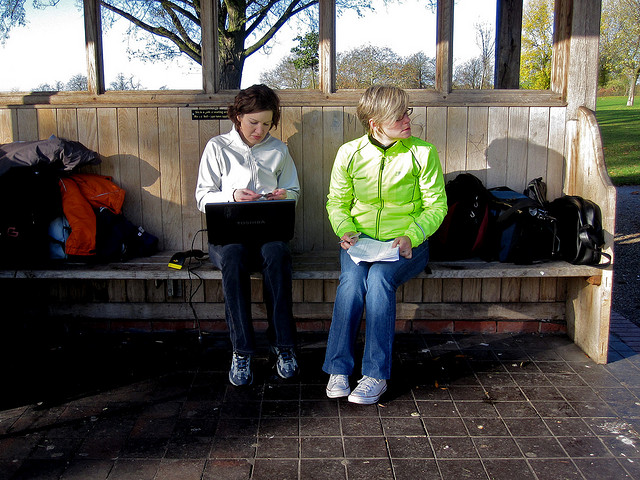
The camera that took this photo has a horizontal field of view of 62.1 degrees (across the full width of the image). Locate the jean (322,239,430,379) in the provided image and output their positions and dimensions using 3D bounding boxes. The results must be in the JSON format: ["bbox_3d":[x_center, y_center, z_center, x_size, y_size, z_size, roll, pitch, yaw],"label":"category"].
[{"bbox_3d":[0.366,0.398,3.576,0.586,0.788,0.572,6,14,5],"label":"jean"}]

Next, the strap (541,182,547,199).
[{"bbox_3d":[1.772,-0.396,4.202,0.024,0.142,0.179,5,15,30],"label":"strap"}]

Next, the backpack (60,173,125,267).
[{"bbox_3d":[-1.672,-0.160,4.019,0.417,0.622,0.463,-4,16,-33],"label":"backpack"}]

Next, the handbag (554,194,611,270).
[{"bbox_3d":[1.862,-0.080,3.874,0.306,0.486,0.350,4,14,3],"label":"handbag"}]

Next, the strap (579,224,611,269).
[{"bbox_3d":[1.933,0.085,3.779,0.083,0.305,0.229,-16,-7,1],"label":"strap"}]

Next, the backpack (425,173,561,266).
[{"bbox_3d":[1.230,-0.171,4.019,0.936,0.492,0.597,0,14,3],"label":"backpack"}]
